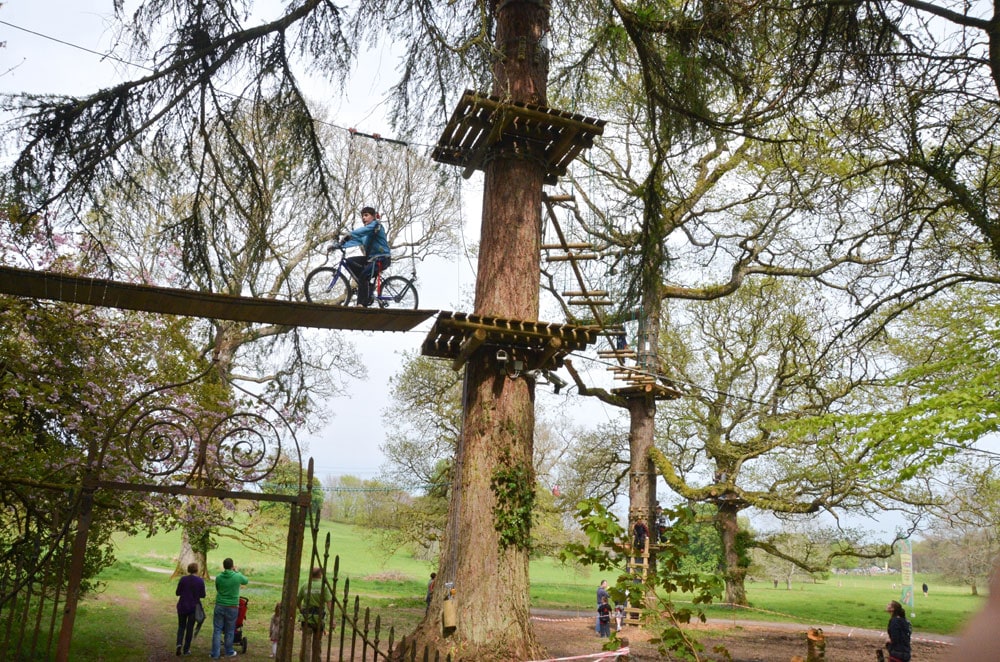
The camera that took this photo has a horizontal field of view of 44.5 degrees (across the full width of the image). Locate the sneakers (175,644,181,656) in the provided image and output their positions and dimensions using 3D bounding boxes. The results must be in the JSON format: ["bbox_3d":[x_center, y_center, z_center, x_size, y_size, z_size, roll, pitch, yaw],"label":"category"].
[{"bbox_3d":[-7.495,7.473,28.569,0.169,0.189,0.155,3,-15,4],"label":"sneakers"}]

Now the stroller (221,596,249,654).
[{"bbox_3d":[-6.591,7.236,29.738,0.560,1.544,0.948,1,-8,-5],"label":"stroller"}]

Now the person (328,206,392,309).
[{"bbox_3d":[-3.233,-1.800,28.916,1.118,2.588,1.020,3,-15,-12],"label":"person"}]
